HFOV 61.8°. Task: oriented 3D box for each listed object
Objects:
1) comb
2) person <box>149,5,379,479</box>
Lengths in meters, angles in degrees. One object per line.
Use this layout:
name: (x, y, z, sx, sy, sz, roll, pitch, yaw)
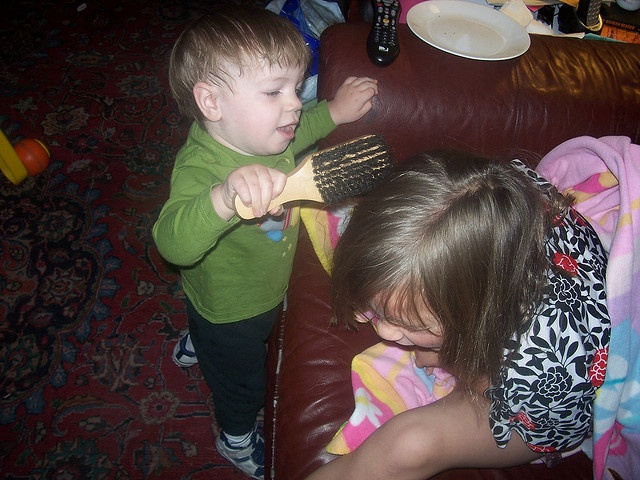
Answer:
comb: (0.010, -0.130, 1.181, 0.399, 0.131, 0.066, -23, 1, -9)
person: (-0.207, 0.056, 1.342, 0.482, 1.014, 0.521, -3, 41, -19)
